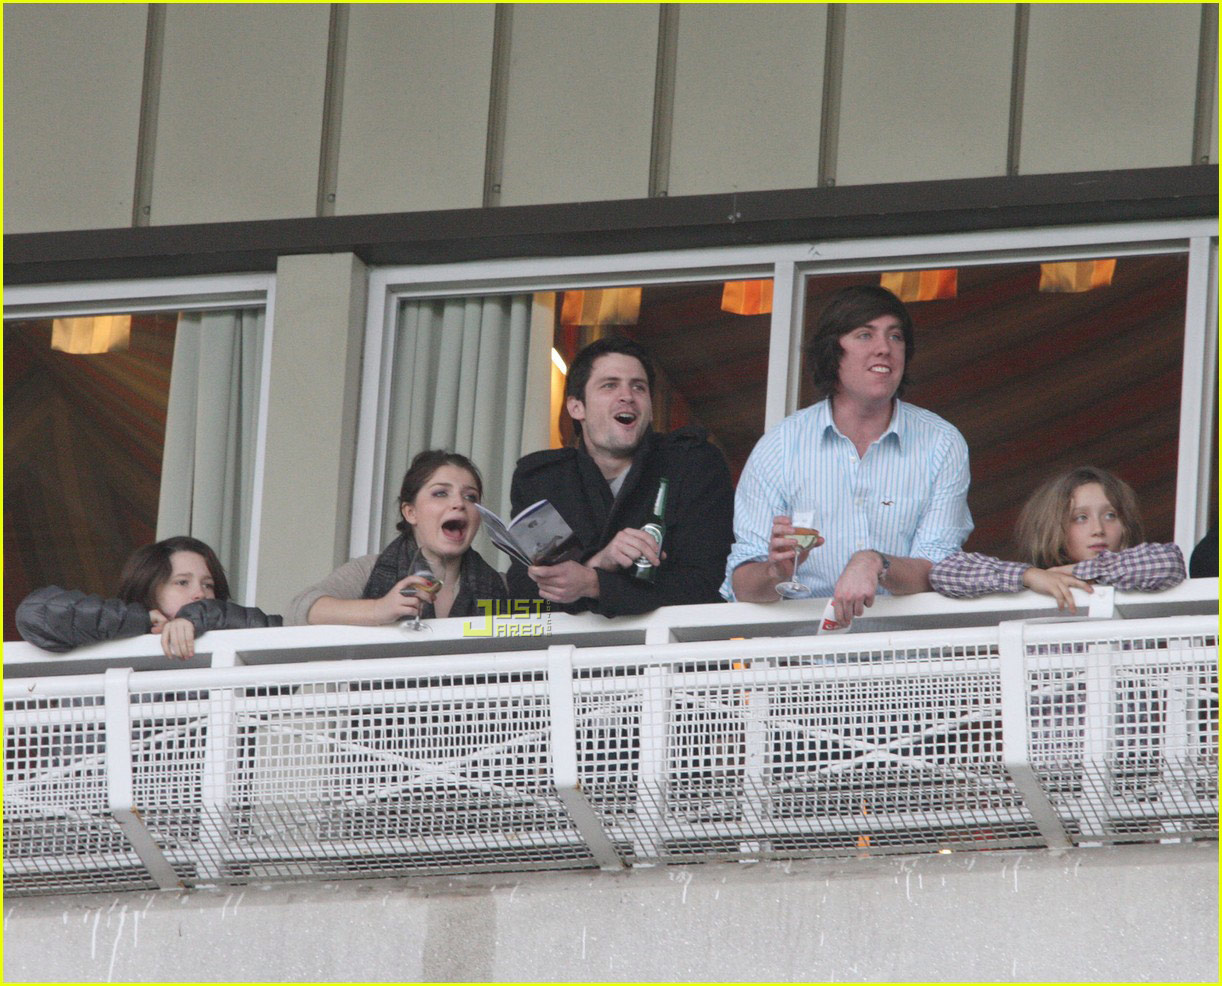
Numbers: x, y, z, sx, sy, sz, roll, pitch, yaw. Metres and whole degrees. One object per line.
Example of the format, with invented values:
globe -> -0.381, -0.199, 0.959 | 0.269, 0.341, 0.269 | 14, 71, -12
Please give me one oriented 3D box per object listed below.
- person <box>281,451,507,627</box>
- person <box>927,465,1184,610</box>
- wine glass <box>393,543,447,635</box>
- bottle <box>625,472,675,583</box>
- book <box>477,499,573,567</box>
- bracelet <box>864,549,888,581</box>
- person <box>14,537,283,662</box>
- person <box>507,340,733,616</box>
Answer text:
person -> -0.818, 0.259, 12.986 | 0.904, 0.672, 0.611 | 6, -26, -10
person -> 1.665, 0.163, 12.429 | 0.964, 0.500, 0.883 | 1, -1, -26
wine glass -> -0.698, 0.377, 12.752 | 0.178, 0.368, 0.206 | -21, -33, 39
bottle -> 0.156, 0.147, 12.733 | 0.128, 0.455, 0.104 | 29, -55, -4
book -> -0.298, 0.163, 12.443 | 0.260, 0.278, 0.111 | -30, -23, -21
bracelet -> 0.967, 0.265, 12.253 | 0.041, 0.072, 0.102 | -9, -22, 10
person -> -1.757, 0.398, 13.043 | 0.991, 0.633, 0.622 | 0, -18, -13
person -> 0.048, -0.009, 13.039 | 0.867, 1.108, 0.667 | -5, -11, 12
